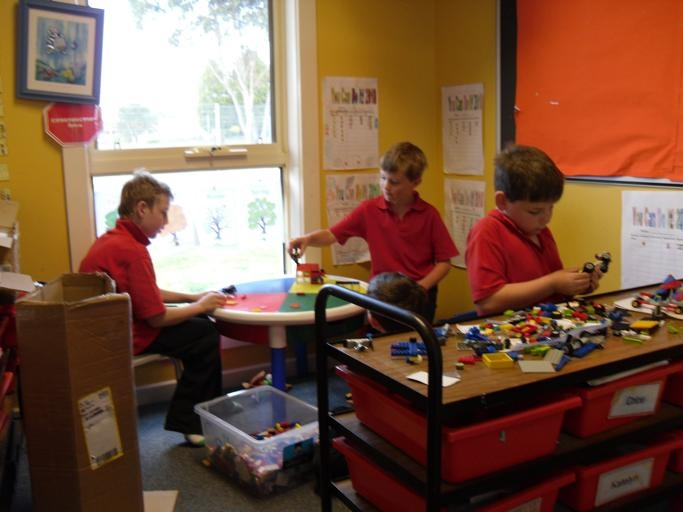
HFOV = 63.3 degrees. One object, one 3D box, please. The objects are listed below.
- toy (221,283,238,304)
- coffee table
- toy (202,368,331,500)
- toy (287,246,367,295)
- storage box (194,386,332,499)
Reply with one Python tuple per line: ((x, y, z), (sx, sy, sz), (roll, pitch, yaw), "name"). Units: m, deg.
((-0.568, 0.193, 2.800), (0.074, 0.068, 0.084), (5, 8, 32), "toy")
((-0.223, 0.348, 2.753), (0.701, 0.473, 0.696), (-7, 12, -35), "coffee table")
((-0.373, 0.774, 2.465), (0.371, 0.231, 0.480), (-5, 7, -40), "toy")
((-0.074, 0.078, 2.982), (0.373, 0.153, 0.216), (5, 4, -2), "toy")
((-0.369, 0.766, 2.463), (0.379, 0.222, 0.490), (-5, 6, -40), "storage box")
